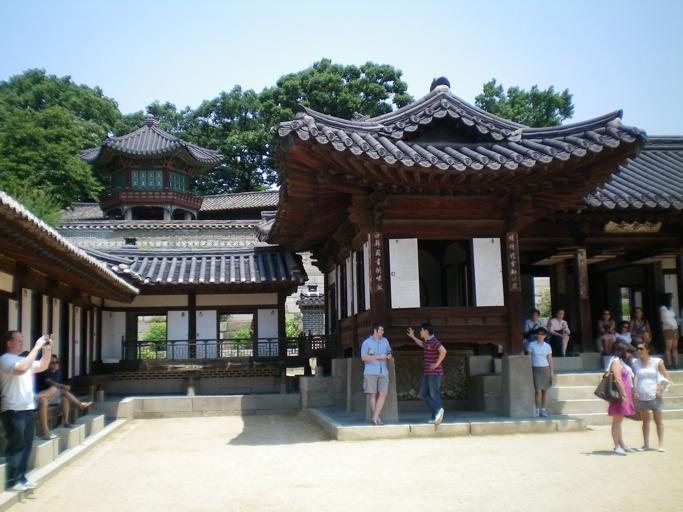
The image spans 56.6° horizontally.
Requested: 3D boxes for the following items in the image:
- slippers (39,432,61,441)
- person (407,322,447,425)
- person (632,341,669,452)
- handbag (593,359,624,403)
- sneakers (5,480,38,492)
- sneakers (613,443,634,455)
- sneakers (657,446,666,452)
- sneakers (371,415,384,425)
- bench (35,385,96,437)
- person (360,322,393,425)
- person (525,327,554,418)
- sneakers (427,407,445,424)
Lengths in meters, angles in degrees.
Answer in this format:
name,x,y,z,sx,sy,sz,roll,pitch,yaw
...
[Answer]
name,x,y,z,sx,sy,sz,roll,pitch,yaw
slippers,-5.155,3.159,11.140,0.316,0.101,0.198,-5,-8,26
person,1.759,2.380,13.001,0.716,2.038,1.441,-2,-3,6
person,5.361,2.391,10.954,0.567,1.851,0.363,-3,-3,21
handbag,4.489,2.117,10.667,0.208,0.686,0.408,1,-4,-41
sneakers,-4.693,3.372,9.283,0.400,0.146,0.126,-3,-8,-12
sneakers,4.771,3.254,10.690,0.390,0.106,0.206,-1,-3,-19
sneakers,5.487,3.288,10.889,0.115,0.087,0.324,-3,-3,25
sneakers,0.701,3.253,12.551,0.113,0.123,0.340,2,-12,-14
bench,-5.354,2.876,12.045,1.354,0.862,0.385,-6,-14,13
person,0.715,2.327,12.680,0.603,1.958,0.482,-2,-3,-4
person,4.168,2.430,13.294,0.451,1.788,0.315,-3,-3,9
sneakers,1.853,3.143,12.507,0.285,0.322,0.265,-4,-3,31
